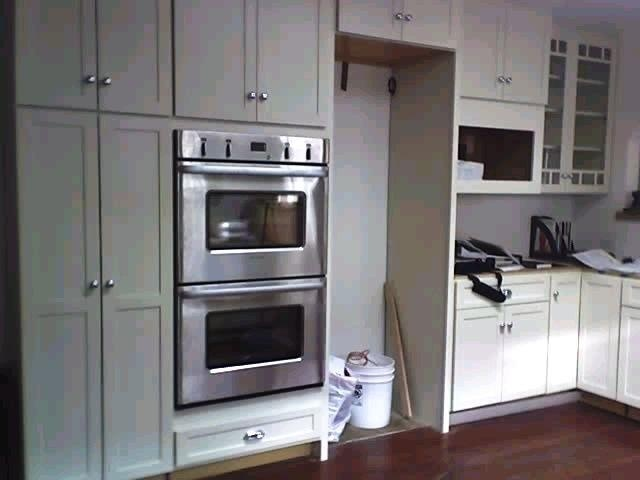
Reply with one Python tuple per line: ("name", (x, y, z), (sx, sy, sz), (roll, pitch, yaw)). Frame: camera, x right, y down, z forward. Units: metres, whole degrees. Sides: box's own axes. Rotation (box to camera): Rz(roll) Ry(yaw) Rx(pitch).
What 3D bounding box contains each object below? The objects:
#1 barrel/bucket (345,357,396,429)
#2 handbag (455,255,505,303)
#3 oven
("barrel/bucket", (0.304, 0.940, 3.252), (0.299, 0.361, 0.308), (2, -6, 0))
("handbag", (0.943, 0.232, 3.160), (0.195, 0.094, 0.332), (0, 21, -14))
("oven", (-0.382, 0.122, 2.760), (0.776, 1.322, 0.708), (-1, 6, -13))
